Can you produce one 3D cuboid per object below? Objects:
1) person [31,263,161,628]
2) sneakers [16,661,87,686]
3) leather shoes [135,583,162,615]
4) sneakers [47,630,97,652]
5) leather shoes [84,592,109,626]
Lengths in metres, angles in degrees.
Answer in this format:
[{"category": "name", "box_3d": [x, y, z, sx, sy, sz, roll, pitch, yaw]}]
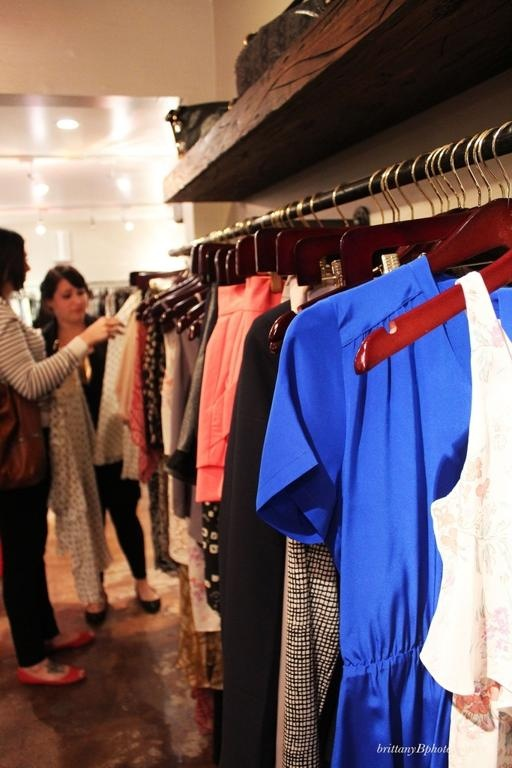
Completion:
[{"category": "person", "box_3d": [-0.527, 0.247, 2.076, 0.326, 1.220, 0.325, -1, 20, 2]}, {"category": "sneakers", "box_3d": [-0.604, 0.856, 1.858, 0.198, 0.080, 0.074, -1, 4, -3]}, {"category": "leather shoes", "box_3d": [-0.368, 0.727, 2.096, 0.064, 0.120, 0.045, -35, -17, 10]}, {"category": "sneakers", "box_3d": [-0.588, 0.818, 1.971, 0.139, 0.056, 0.050, -10, 6, -13]}, {"category": "leather shoes", "box_3d": [-0.527, 0.751, 2.038, 0.039, 0.046, 0.118, 1, -3, 0]}]
